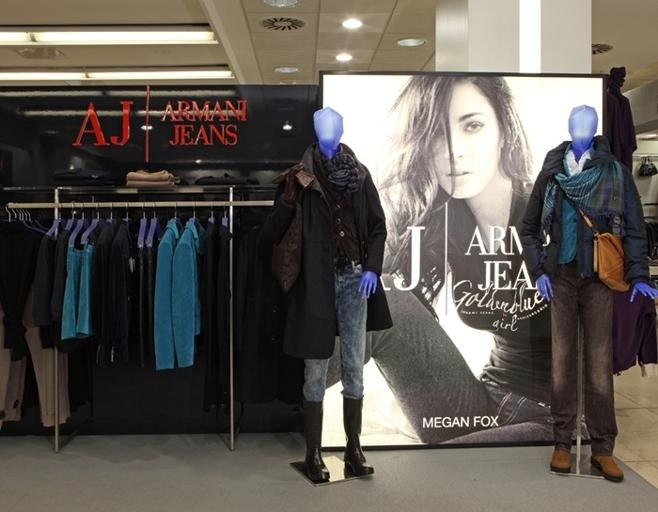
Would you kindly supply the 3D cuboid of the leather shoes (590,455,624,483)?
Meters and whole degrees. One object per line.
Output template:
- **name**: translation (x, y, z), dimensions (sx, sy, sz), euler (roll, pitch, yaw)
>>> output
- **leather shoes**: translation (1.808, 1.376, 3.834), dimensions (0.088, 0.102, 0.244), euler (0, 3, -17)

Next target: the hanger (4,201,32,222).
- **hanger**: translation (-2.402, -0.338, 4.547), dimensions (0.185, 0.147, 0.015), euler (2, 11, -6)

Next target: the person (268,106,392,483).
- **person**: translation (0.009, 0.249, 3.806), dimensions (0.785, 2.357, 0.437), euler (-1, 9, -6)

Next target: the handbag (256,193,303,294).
- **handbag**: translation (-0.305, -0.074, 3.748), dimensions (0.279, 0.596, 0.176), euler (0, 9, 4)

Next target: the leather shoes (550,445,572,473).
- **leather shoes**: translation (1.541, 1.353, 3.927), dimensions (0.087, 0.088, 0.205), euler (2, 2, 7)

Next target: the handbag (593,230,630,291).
- **handbag**: translation (1.817, 0.036, 3.802), dimensions (0.218, 0.363, 0.117), euler (3, 10, 18)

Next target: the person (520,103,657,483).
- **person**: translation (1.674, 0.316, 3.902), dimensions (0.798, 2.187, 0.493), euler (3, 10, 18)
